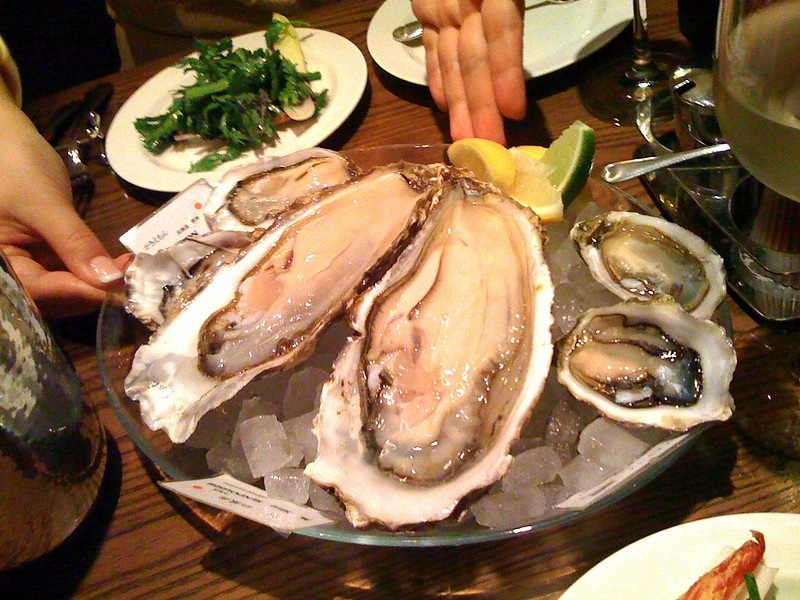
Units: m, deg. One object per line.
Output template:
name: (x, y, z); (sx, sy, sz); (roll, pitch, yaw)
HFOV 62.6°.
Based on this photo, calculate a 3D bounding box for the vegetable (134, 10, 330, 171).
vegetable: (-0.402, -0.541, 1.626); (0.429, 0.147, 0.440); (-15, 48, 15)

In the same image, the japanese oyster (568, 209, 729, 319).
japanese oyster: (0.430, -0.068, 1.129); (0.220, 0.063, 0.174); (31, 82, 27)

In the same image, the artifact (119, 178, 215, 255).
artifact: (-0.438, -0.151, 1.277); (0.170, 0.034, 0.120); (-31, 73, -13)

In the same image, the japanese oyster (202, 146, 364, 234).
japanese oyster: (-0.255, -0.222, 1.312); (0.226, 0.048, 0.187); (-29, 54, -18)

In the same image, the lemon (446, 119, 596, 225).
lemon: (0.233, -0.227, 1.244); (0.214, 0.106, 0.226); (-33, 59, -14)

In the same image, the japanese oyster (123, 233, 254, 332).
japanese oyster: (-0.395, -0.043, 1.242); (0.173, 0.050, 0.205); (26, 60, 23)
